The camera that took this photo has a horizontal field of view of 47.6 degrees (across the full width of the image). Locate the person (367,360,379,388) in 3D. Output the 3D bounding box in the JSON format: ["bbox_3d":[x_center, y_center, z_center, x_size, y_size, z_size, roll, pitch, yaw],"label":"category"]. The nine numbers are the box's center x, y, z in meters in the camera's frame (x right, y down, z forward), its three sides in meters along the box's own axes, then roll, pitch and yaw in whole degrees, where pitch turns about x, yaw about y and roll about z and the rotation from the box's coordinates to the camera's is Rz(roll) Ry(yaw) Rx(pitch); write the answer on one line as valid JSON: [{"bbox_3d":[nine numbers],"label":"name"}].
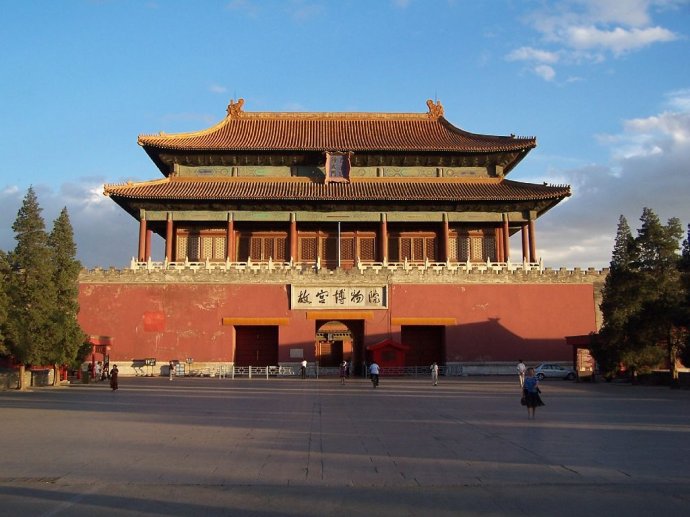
[{"bbox_3d":[1.129,4.562,30.757,0.570,0.723,1.181,0,-2,0],"label":"person"}]

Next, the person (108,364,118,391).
[{"bbox_3d":[-8.310,4.279,28.085,0.239,0.893,1.128,0,-9,-15],"label":"person"}]

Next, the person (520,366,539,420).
[{"bbox_3d":[4.852,3.519,20.568,0.464,1.269,1.676,-4,-9,12],"label":"person"}]

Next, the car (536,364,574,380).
[{"bbox_3d":[9.485,5.190,35.827,1.940,0.658,0.855,-2,-4,3],"label":"car"}]

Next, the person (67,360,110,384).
[{"bbox_3d":[-10.986,5.170,34.263,0.973,0.715,1.320,-2,-3,5],"label":"person"}]
